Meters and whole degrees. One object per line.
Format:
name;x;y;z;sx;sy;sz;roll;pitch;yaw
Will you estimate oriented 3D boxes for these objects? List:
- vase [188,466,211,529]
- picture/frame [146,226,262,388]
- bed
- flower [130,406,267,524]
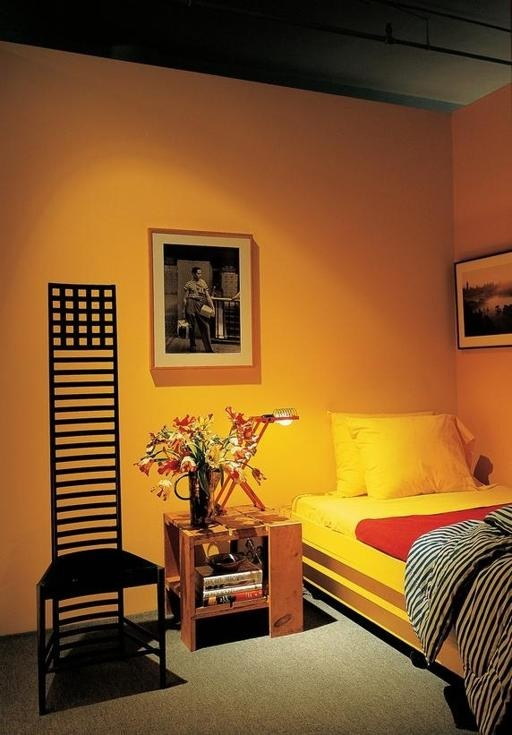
vase;-0.248;0.557;2.665;0.093;0.265;0.061;-1;-3;3
picture/frame;-0.301;-0.314;3.190;0.771;1.095;0.038;-2;3;-22
bed;0.651;1.028;2.835;0.685;0.270;0.685;-1;1;-30
flower;-0.224;0.451;2.762;0.443;0.446;0.417;-3;4;9
